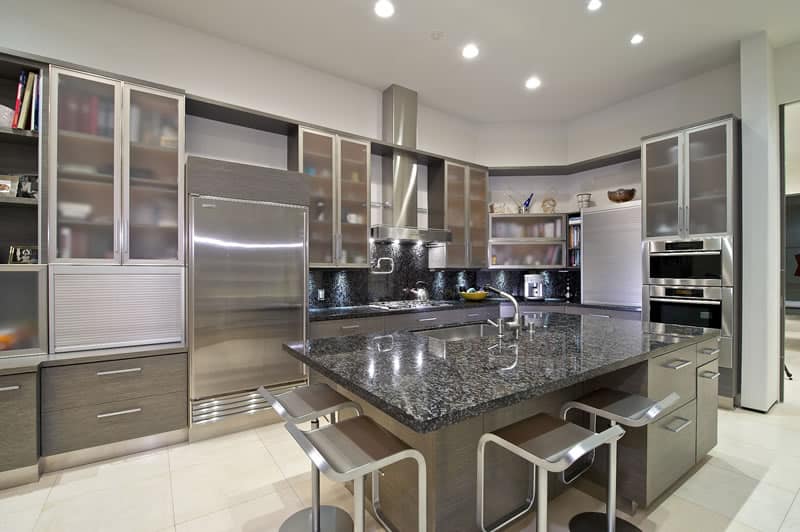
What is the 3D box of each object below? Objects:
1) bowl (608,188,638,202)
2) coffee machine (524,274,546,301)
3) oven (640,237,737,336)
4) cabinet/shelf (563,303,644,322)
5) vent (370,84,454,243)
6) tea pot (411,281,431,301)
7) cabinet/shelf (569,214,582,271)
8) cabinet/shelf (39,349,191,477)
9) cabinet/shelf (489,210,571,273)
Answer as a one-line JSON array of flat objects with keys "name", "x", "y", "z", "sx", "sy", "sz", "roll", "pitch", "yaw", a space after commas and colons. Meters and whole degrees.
[{"name": "bowl", "x": 2.921, "y": -0.893, "z": 6.728, "sx": 0.246, "sy": 0.148, "sz": 0.267, "roll": -1, "pitch": 3, "yaw": 0}, {"name": "coffee machine", "x": 1.908, "y": 0.302, "z": 7.340, "sx": 0.326, "sy": 0.407, "sz": 0.351, "roll": -1, "pitch": -9, "yaw": 6}, {"name": "oven", "x": 3.416, "y": 0.293, "z": 6.009, "sx": 0.975, "sy": 1.252, "sz": 0.720, "roll": 2, "pitch": 4, "yaw": 43}, {"name": "cabinet/shelf", "x": 2.538, "y": 0.573, "z": 6.523, "sx": 0.194, "sy": 0.179, "sz": 0.954, "roll": -1, "pitch": -1, "yaw": -41}, {"name": "vent", "x": 0.207, "y": -1.414, "z": 6.892, "sx": 0.545, "sy": 1.914, "sz": 0.967, "roll": -21, "pitch": 21, "yaw": -27}, {"name": "tea pot", "x": 0.303, "y": 0.336, "z": 6.962, "sx": 0.205, "sy": 0.276, "sz": 0.326, "roll": -2, "pitch": -1, "yaw": 34}, {"name": "cabinet/shelf", "x": 2.396, "y": -0.346, "z": 7.011, "sx": 0.132, "sy": 0.699, "sz": 0.255, "roll": -2, "pitch": 0, "yaw": -19}, {"name": "cabinet/shelf", "x": -2.726, "y": 1.467, "z": 5.052, "sx": 1.247, "sy": 0.954, "sz": 0.644, "roll": -4, "pitch": -26, "yaw": -24}, {"name": "cabinet/shelf", "x": 1.867, "y": -0.368, "z": 7.348, "sx": 1.112, "sy": 0.778, "sz": 0.390, "roll": 1, "pitch": 8, "yaw": 32}]
